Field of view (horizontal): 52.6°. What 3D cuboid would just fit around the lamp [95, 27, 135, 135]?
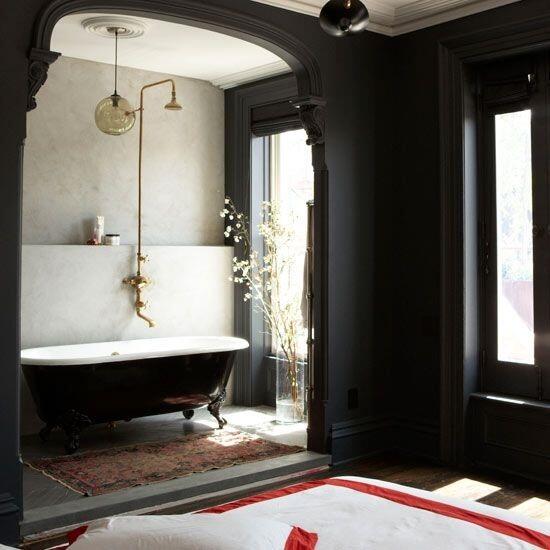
[{"bbox_3d":[-1.230,-1.424,4.304,0.286,0.745,0.674,1,-1,-17],"label":"lamp"}]

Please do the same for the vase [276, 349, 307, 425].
[{"bbox_3d":[0.138,0.947,4.502,0.242,0.533,0.187,0,-1,4],"label":"vase"}]

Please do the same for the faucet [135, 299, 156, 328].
[{"bbox_3d":[-1.102,0.340,4.751,0.171,0.242,0.164,1,-1,-22],"label":"faucet"}]
